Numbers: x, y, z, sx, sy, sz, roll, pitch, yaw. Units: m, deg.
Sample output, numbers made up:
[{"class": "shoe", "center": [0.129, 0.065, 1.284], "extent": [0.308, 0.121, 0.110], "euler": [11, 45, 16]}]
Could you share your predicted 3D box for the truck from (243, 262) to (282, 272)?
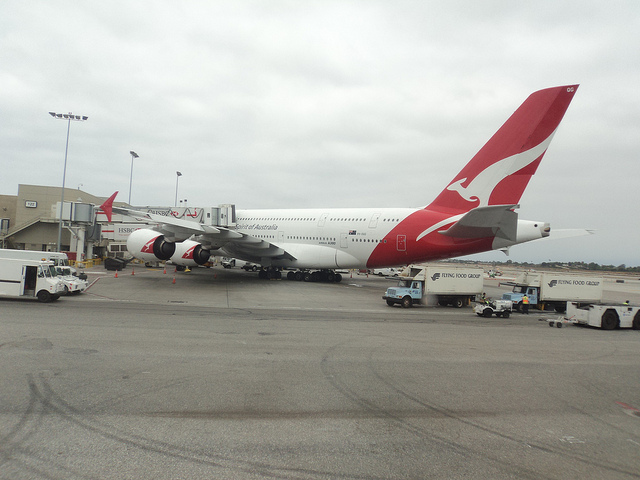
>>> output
[{"class": "truck", "center": [-4.810, 2.153, 45.192], "extent": [2.992, 0.610, 1.527], "euler": [0, 0, 14]}]

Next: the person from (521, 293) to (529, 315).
[{"class": "person", "center": [8.547, 2.649, 22.900], "extent": [0.304, 0.746, 0.373], "euler": [11, 11, 28]}]

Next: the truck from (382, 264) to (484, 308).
[{"class": "truck", "center": [4.820, 1.920, 23.831], "extent": [4.604, 1.279, 1.889], "euler": [1, -3, -13]}]

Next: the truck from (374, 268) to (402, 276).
[{"class": "truck", "center": [6.369, 3.340, 53.628], "extent": [2.971, 0.946, 1.450], "euler": [-2, -1, 15]}]

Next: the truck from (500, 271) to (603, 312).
[{"class": "truck", "center": [9.887, 2.210, 23.633], "extent": [4.652, 1.376, 1.836], "euler": [1, -3, 0]}]
